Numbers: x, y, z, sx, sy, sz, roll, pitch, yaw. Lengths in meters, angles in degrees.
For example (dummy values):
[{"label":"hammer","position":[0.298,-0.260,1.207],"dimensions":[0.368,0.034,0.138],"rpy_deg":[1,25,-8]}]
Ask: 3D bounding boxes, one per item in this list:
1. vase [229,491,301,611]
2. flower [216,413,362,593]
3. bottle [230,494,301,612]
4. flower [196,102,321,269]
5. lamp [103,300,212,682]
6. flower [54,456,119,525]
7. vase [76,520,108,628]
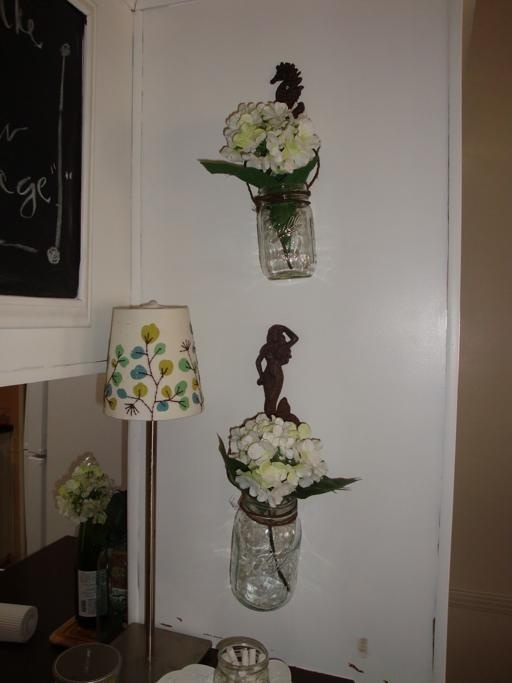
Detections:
[{"label":"vase","position":[0.019,0.417,1.180],"dimensions":[0.118,0.226,0.127],"rpy_deg":[-2,13,-17]},{"label":"flower","position":[0.084,0.328,1.165],"dimensions":[0.275,0.430,0.234],"rpy_deg":[-6,11,-24]},{"label":"bottle","position":[0.021,0.404,1.194],"dimensions":[0.140,0.268,0.154],"rpy_deg":[7,24,7]},{"label":"flower","position":[0.045,-0.303,1.155],"dimensions":[0.210,0.344,0.222],"rpy_deg":[-20,30,-21]},{"label":"lamp","position":[-0.198,0.307,1.199],"dimensions":[0.205,0.707,0.349],"rpy_deg":[1,0,-5]},{"label":"flower","position":[-0.383,0.346,1.292],"dimensions":[0.117,0.156,0.140],"rpy_deg":[9,3,8]},{"label":"vase","position":[-0.373,0.517,1.278],"dimensions":[0.045,0.226,0.048],"rpy_deg":[0,-1,-26]}]
